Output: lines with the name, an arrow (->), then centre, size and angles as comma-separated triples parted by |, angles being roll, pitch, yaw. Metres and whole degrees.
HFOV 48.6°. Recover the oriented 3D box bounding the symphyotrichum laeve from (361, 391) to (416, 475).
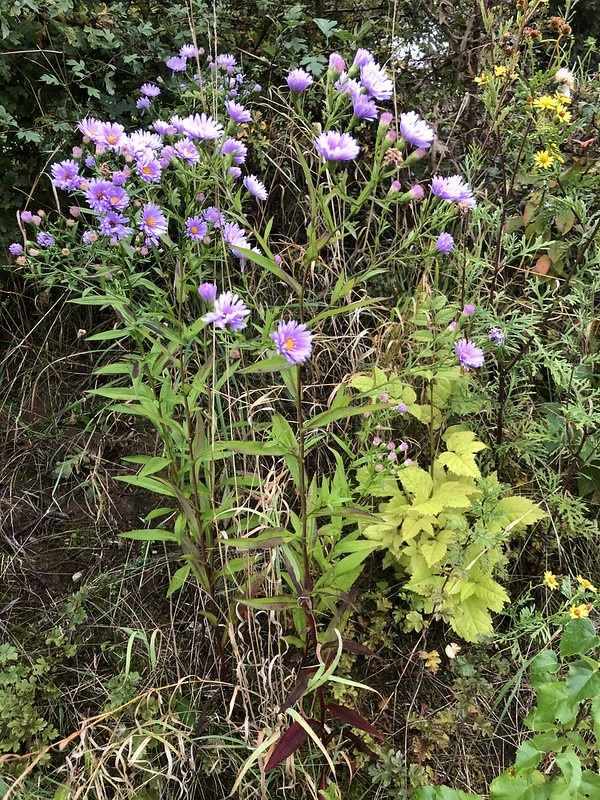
symphyotrichum laeve -> 0.224, 0.131, 1.866 | 0.102, 0.257, 0.165 | 0, 43, 21
